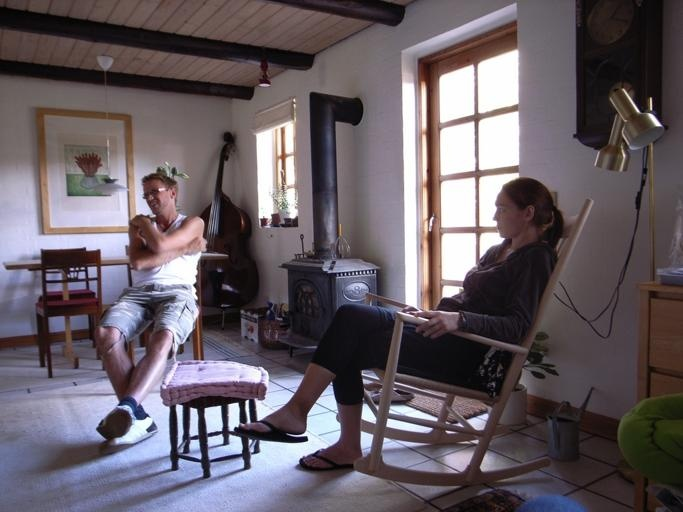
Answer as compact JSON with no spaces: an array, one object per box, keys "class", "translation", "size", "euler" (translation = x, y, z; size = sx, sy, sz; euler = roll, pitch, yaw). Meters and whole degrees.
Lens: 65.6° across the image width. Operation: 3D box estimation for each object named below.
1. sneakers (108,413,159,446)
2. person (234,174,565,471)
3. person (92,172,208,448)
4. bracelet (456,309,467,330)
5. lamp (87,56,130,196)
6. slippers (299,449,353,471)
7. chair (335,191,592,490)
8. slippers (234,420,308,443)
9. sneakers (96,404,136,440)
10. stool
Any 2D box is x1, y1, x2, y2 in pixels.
[{"class":"sneakers","translation":[-1.130,0.966,2.915],"size":[0.085,0.110,0.258],"euler":[0,-7,12]},{"class":"person","translation":[0.371,0.312,2.649],"size":[1.297,1.568,0.708],"euler":[10,-2,4]},{"class":"person","translation":[-1.153,0.228,3.237],"size":[0.558,1.508,1.205],"euler":[-2,7,-8]},{"class":"bracelet","translation":[0.525,0.286,2.323],"size":[0.048,0.066,0.021],"euler":[5,-14,-6]},{"class":"lamp","translation":[-2.274,-1.246,5.202],"size":[0.267,1.270,1.047],"euler":[-4,7,-23]},{"class":"slippers","translation":[-0.070,1.015,2.630],"size":[0.211,0.050,0.107],"euler":[6,-2,-4]},{"class":"chair","translation":[0.588,0.358,2.663],"size":[1.064,1.319,0.840],"euler":[3,11,-14]},{"class":"slippers","translation":[-0.303,0.792,2.357],"size":[0.323,0.090,0.121],"euler":[16,-22,-12]},{"class":"sneakers","translation":[-1.170,0.862,2.732],"size":[0.179,0.184,0.101],"euler":[-4,7,-17]},{"class":"stool","translation":[-0.655,0.890,2.687],"size":[0.408,0.413,0.453],"euler":[0,-1,-39]}]
